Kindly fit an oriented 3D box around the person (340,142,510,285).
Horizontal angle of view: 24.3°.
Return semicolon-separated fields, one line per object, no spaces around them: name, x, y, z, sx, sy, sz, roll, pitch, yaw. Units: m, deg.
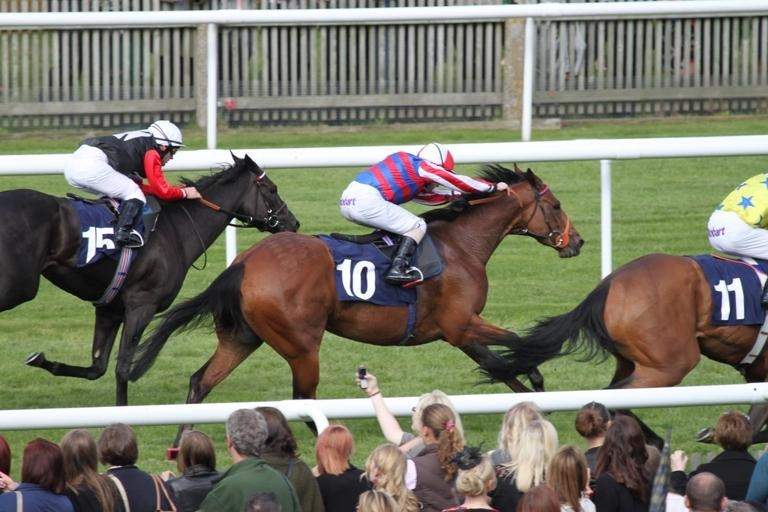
person;0.119;-0.356;12.085;1.329;0.958;0.709;1;3;-14

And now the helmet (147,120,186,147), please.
helmet;-1.503;-0.862;12.309;0.241;0.142;0.158;25;16;-22

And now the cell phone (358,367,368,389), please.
cell phone;-0.129;0.721;10.564;0.070;0.119;0.029;-1;14;-4
